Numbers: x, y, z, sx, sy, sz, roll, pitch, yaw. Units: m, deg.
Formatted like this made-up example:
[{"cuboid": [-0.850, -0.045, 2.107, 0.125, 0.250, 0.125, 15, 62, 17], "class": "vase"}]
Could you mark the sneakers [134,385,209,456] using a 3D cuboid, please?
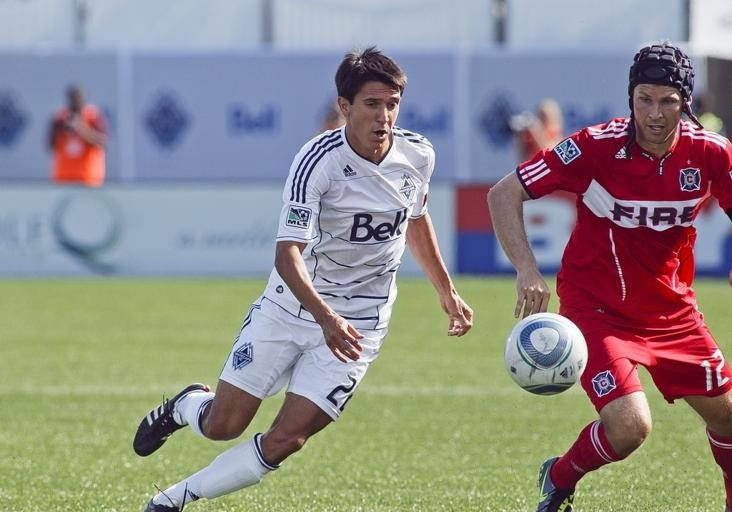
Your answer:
[{"cuboid": [-1.487, 1.293, 8.483, 0.568, 0.203, 0.228, -43, 22, 8], "class": "sneakers"}]

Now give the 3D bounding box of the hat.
[{"cuboid": [1.946, -1.211, 7.341, 0.346, 0.428, 0.434, 8, 18, 7], "class": "hat"}]

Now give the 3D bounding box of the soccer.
[{"cuboid": [1.154, 0.718, 7.351, 0.455, 0.538, 0.515, 5, -4, -3], "class": "soccer"}]
